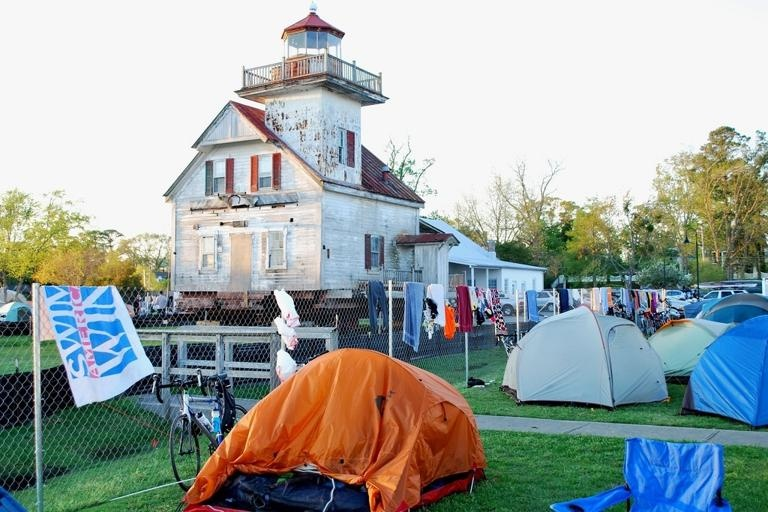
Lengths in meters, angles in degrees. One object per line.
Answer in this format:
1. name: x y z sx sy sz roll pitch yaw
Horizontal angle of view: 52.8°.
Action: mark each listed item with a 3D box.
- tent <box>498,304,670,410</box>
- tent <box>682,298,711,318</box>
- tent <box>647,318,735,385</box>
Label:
1. tent: 4.899 2.502 18.673 2.308 1.643 2.841 -3 2 -37
2. tent: 13.229 2.172 32.793 0.844 0.532 1.376 -24 3 38
3. tent: 8.200 2.413 21.398 1.655 0.893 1.856 -3 2 0
